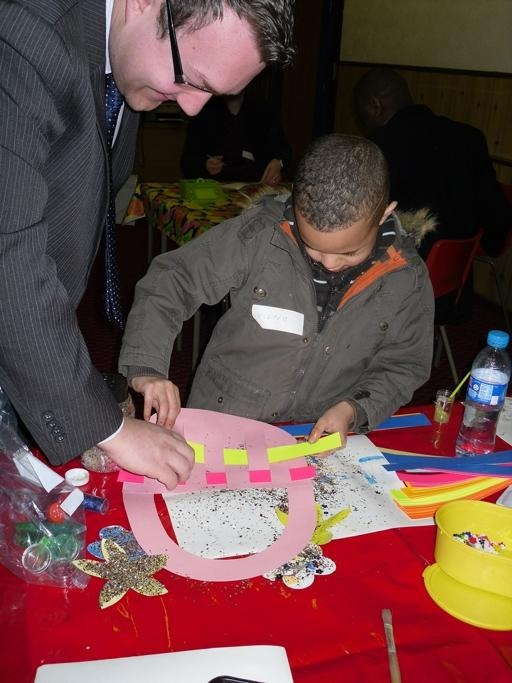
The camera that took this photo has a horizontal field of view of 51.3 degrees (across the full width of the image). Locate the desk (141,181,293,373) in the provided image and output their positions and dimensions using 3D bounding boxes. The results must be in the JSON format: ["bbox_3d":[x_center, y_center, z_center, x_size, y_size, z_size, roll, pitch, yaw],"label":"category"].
[{"bbox_3d":[-0.120,-0.387,3.189,1.058,0.552,1.059,-4,39,-6],"label":"desk"}]
